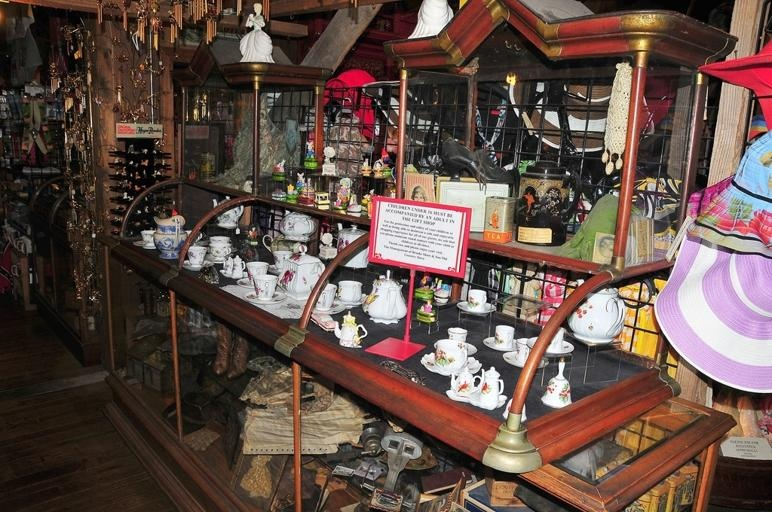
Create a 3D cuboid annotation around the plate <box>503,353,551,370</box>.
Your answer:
[{"bbox_3d":[0.559,0.419,2.045,0.110,0.016,0.109,-2,17,-1],"label":"plate"}]

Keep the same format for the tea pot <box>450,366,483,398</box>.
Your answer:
[{"bbox_3d":[0.302,0.490,1.993,0.124,0.093,0.080,3,2,31],"label":"tea pot"}]

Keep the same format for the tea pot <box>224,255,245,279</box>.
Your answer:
[{"bbox_3d":[-0.902,0.061,3.045,0.098,0.145,0.152,4,0,40],"label":"tea pot"}]

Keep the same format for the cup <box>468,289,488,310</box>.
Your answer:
[{"bbox_3d":[0.433,0.211,2.488,0.092,0.068,0.071,9,10,39],"label":"cup"}]

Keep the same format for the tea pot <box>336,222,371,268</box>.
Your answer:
[{"bbox_3d":[-0.179,-0.067,2.868,0.270,0.221,0.169,12,16,37],"label":"tea pot"}]

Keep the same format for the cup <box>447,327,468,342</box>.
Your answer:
[{"bbox_3d":[0.302,0.336,2.206,0.062,0.052,0.067,0,7,0],"label":"cup"}]

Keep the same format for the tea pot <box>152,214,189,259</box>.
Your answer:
[{"bbox_3d":[-1.418,-0.129,3.389,0.263,0.276,0.210,10,8,41],"label":"tea pot"}]

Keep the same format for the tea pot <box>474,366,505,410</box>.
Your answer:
[{"bbox_3d":[0.396,0.495,1.965,0.117,0.134,0.137,4,13,12],"label":"tea pot"}]

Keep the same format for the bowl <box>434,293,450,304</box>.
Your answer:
[{"bbox_3d":[0.281,0.219,2.627,0.057,0.051,0.056,4,13,-1],"label":"bowl"}]

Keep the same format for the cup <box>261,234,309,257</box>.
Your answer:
[{"bbox_3d":[-0.651,-0.070,3.193,0.249,0.091,0.170,3,7,6],"label":"cup"}]

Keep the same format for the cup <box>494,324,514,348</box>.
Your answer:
[{"bbox_3d":[0.516,0.354,2.285,0.072,0.070,0.095,2,11,3],"label":"cup"}]

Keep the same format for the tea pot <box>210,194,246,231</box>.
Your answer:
[{"bbox_3d":[-1.019,-0.291,3.391,0.230,0.216,0.170,-1,29,-9],"label":"tea pot"}]

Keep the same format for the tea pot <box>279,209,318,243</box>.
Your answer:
[{"bbox_3d":[-0.528,-0.179,3.089,0.185,0.124,0.183,5,5,0],"label":"tea pot"}]

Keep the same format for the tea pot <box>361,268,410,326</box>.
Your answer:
[{"bbox_3d":[0.005,0.204,2.537,0.210,0.261,0.310,4,4,-9],"label":"tea pot"}]

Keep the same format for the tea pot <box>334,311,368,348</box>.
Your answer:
[{"bbox_3d":[-0.172,0.329,2.323,0.155,0.156,0.099,6,-7,-14],"label":"tea pot"}]

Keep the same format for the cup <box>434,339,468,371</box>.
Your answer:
[{"bbox_3d":[0.261,0.405,2.124,0.131,0.088,0.100,4,7,1],"label":"cup"}]

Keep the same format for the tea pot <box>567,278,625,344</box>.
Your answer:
[{"bbox_3d":[0.876,0.228,2.137,0.203,0.243,0.285,-1,16,-9],"label":"tea pot"}]
